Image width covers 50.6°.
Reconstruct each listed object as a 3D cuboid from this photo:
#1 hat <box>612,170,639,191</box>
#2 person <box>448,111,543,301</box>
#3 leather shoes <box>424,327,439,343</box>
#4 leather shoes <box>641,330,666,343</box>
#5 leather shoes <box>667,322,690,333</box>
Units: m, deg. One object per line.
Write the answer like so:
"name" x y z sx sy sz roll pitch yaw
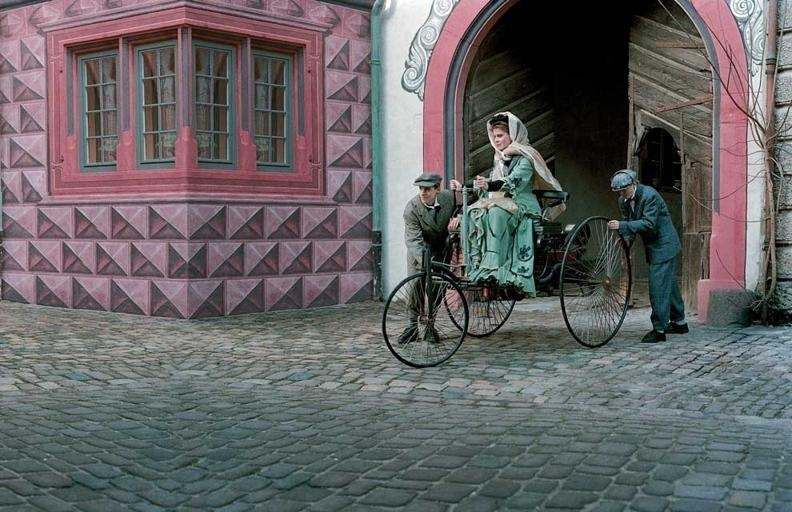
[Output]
"hat" 2.710 -0.927 9.900 0.232 0.143 0.336 -7 13 41
"person" 1.188 -0.567 9.312 0.722 1.998 0.998 3 10 25
"leather shoes" 0.391 0.836 8.978 0.187 0.196 0.101 -4 9 -16
"leather shoes" 2.986 0.932 9.771 0.314 0.117 0.123 0 -1 1
"leather shoes" 3.386 0.856 10.119 0.281 0.121 0.109 4 5 14
